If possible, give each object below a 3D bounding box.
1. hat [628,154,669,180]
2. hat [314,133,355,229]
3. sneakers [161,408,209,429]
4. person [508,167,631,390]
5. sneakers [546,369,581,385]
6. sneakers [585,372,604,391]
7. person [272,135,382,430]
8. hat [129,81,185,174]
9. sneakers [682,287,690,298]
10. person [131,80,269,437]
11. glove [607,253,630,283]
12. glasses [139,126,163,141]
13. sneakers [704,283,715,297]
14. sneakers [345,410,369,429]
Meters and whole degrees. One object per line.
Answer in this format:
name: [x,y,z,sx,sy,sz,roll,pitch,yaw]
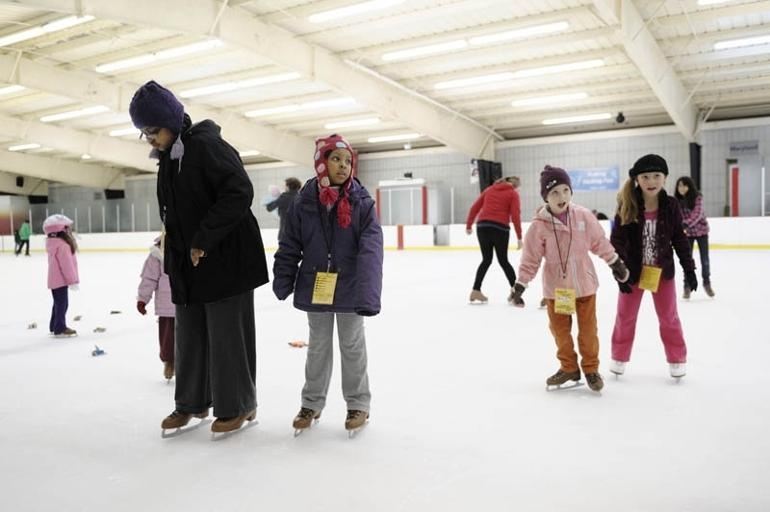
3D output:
hat: [1.734,-0.588,3.811,0.162,0.115,0.227,-1,10,21]
hat: [-0.286,-0.429,3.316,0.210,0.515,0.260,-2,9,-6]
sneakers: [-1.159,0.936,3.352,0.300,0.117,0.098,1,-4,-35]
person: [1.201,0.150,3.770,0.739,1.441,0.396,1,9,13]
sneakers: [1.168,0.804,3.837,0.249,0.117,0.091,-1,-5,0]
sneakers: [1.347,0.808,3.727,0.114,0.121,0.168,3,10,23]
person: [-0.326,0.144,3.348,0.621,1.651,0.522,-1,9,0]
hat: [-1.271,-0.757,3.284,0.301,0.455,0.260,-3,9,-14]
sneakers: [3.514,0.447,6.749,0.062,0.129,0.189,-1,-13,9]
person: [-1.015,0.016,3.279,0.703,1.981,0.468,-1,9,-2]
glove: [1.503,0.099,3.709,0.086,0.207,0.185,6,11,37]
glasses: [-1.310,-0.681,3.267,0.097,0.072,0.122,2,-13,8]
sneakers: [3.791,0.406,6.797,0.088,0.118,0.242,-7,1,8]
sneakers: [-0.166,0.934,3.270,0.113,0.099,0.108,0,9,3]
